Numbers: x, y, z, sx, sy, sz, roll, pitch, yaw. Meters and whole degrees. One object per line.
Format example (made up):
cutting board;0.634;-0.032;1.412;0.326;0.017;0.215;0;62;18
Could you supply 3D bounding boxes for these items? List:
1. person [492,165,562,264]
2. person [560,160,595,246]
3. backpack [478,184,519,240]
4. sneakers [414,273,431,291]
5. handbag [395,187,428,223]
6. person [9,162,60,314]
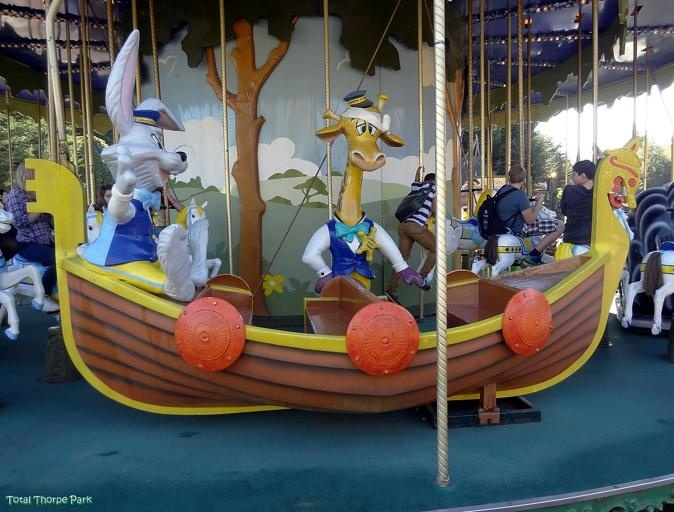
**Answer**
person;2.017;-0.465;6.902;0.465;1.002;0.891;7;11;37
person;2.302;-0.528;6.110;0.273;0.781;0.479;3;9;19
backpack;1.652;-0.482;6.800;0.449;0.527;0.364;-9;15;4
sneakers;0.787;0.221;5.854;0.139;0.096;0.230;25;-17;23
handbag;0.750;-0.501;6.346;0.107;0.207;0.335;20;-49;-32
person;-2.754;-0.130;5.709;0.380;1.431;1.774;-3;10;-25
